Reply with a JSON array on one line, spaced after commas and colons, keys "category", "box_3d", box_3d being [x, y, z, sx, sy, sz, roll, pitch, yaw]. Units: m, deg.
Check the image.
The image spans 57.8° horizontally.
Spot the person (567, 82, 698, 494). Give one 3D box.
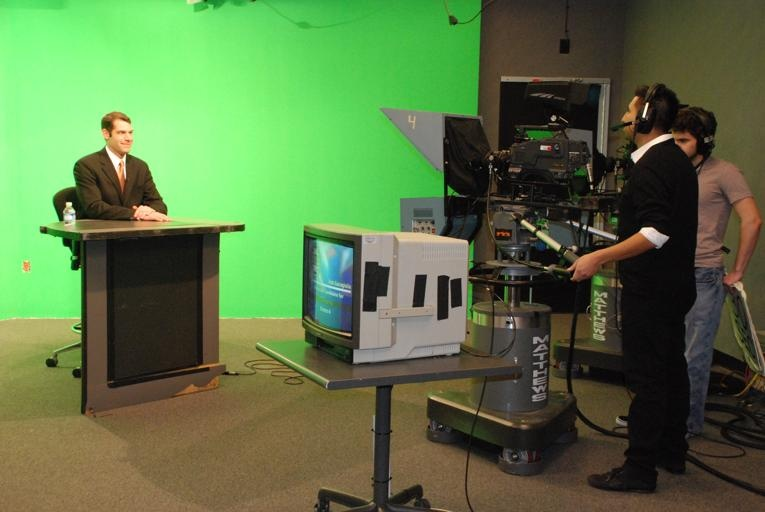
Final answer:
[{"category": "person", "box_3d": [1.605, 0.217, 4.184, 0.436, 2.477, 0.603, 8, 13, 39]}]

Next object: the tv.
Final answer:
[{"category": "tv", "box_3d": [0.013, 0.174, 4.024, 0.817, 0.687, 0.757, 0, 4, -22]}]

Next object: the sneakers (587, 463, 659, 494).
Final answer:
[{"category": "sneakers", "box_3d": [1.515, 1.383, 4.364, 0.480, 0.176, 0.162, 2, -1, 12]}]

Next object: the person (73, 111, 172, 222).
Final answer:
[{"category": "person", "box_3d": [-2.163, -0.713, 5.805, 0.880, 0.893, 0.677, 8, 9, 15]}]

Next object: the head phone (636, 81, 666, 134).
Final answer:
[{"category": "head phone", "box_3d": [1.668, -0.937, 4.253, 0.115, 0.291, 0.333, 22, 35, 26]}]
